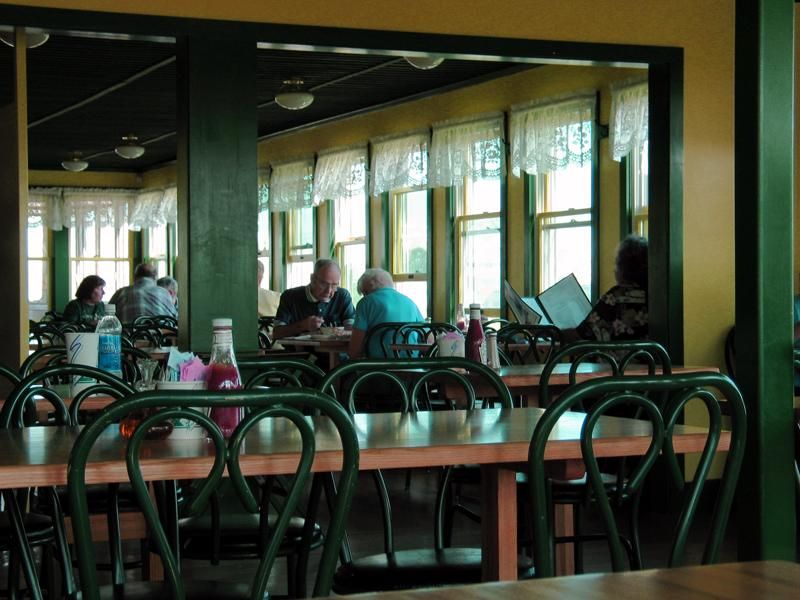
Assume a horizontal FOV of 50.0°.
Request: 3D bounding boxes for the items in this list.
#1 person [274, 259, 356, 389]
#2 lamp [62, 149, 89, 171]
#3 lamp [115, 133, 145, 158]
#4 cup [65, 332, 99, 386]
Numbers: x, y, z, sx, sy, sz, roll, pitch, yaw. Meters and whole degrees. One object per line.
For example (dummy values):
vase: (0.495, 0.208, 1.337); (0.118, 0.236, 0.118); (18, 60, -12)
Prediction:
person: (-0.661, 0.241, 6.593); (0.615, 1.170, 0.547); (1, 9, -29)
lamp: (-4.557, -1.978, 12.015); (0.372, 0.288, 0.436); (0, 4, -13)
lamp: (-3.425, -1.975, 10.859); (0.338, 0.310, 0.419); (1, 7, 3)
cup: (-1.002, 0.191, 2.723); (0.115, 0.184, 0.117); (-2, 0, 0)
